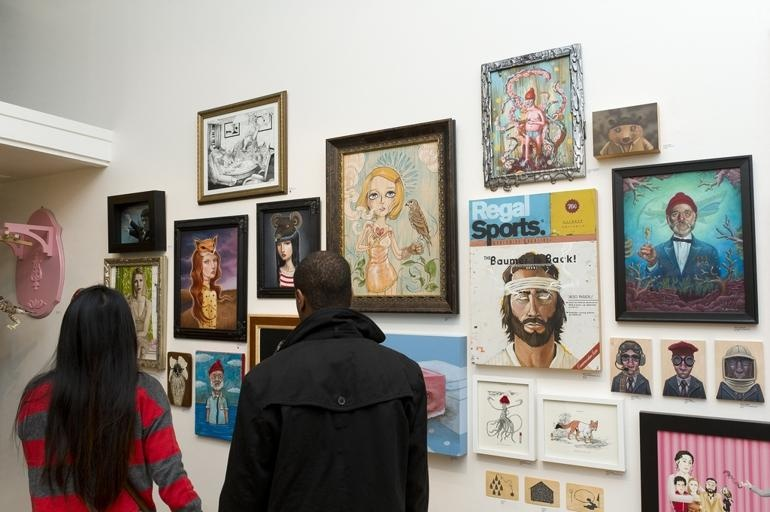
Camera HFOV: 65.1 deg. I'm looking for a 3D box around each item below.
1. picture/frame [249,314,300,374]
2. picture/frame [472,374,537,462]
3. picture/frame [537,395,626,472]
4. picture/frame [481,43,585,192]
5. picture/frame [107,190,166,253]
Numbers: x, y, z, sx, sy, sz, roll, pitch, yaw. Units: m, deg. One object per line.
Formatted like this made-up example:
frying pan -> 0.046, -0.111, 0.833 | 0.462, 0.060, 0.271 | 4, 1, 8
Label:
picture/frame -> -0.785, 0.617, 4.259 | 0.535, 0.617, 0.039 | 0, -2, 29
picture/frame -> 0.854, 1.147, 4.225 | 0.540, 0.758, 0.091 | -2, -6, 25
picture/frame -> 1.341, 1.195, 4.033 | 0.481, 0.462, 0.042 | -1, -1, 28
picture/frame -> 1.068, -0.963, 4.231 | 0.913, 1.355, 0.087 | -2, -4, 26
picture/frame -> -2.337, -0.316, 5.675 | 0.505, 0.501, 0.103 | -3, -6, 31
